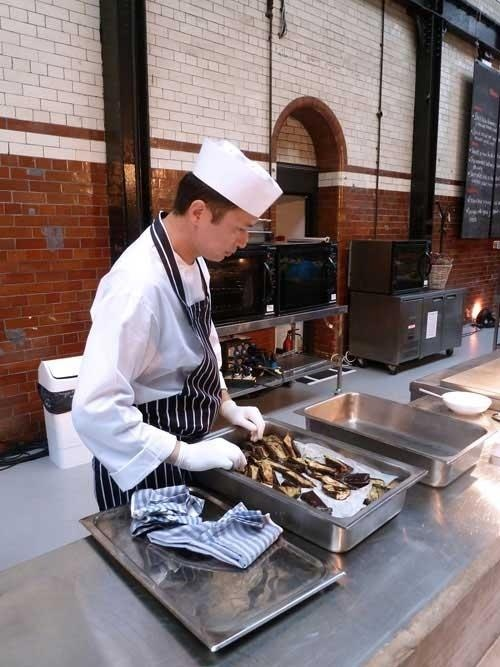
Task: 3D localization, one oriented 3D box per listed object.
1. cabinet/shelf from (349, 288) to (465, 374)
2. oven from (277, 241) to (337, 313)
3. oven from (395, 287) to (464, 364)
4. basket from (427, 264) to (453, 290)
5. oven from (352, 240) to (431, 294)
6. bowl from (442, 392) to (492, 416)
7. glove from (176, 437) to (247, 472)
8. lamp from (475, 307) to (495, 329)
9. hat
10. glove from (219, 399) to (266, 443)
[{"bbox_3d":[1.669,-0.075,5.349,1.256,0.735,0.633,-11,15,-42],"label":"cabinet/shelf"},{"bbox_3d":[0.334,-0.463,4.142,0.498,0.543,0.841,6,13,38],"label":"oven"},{"bbox_3d":[1.820,-0.079,5.326,1.088,0.753,0.367,-11,17,-34],"label":"oven"},{"bbox_3d":[2.099,-0.625,5.634,0.287,0.282,0.298,4,6,28],"label":"basket"},{"bbox_3d":[1.443,-0.680,5.146,0.571,0.537,0.873,11,14,43],"label":"oven"},{"bbox_3d":[0.728,0.242,1.688,0.148,0.064,0.172,8,14,27],"label":"bowl"},{"bbox_3d":[-0.088,0.284,1.128,0.120,0.082,0.128,7,13,20],"label":"glove"},{"bbox_3d":[3.418,-0.200,7.360,0.352,0.320,0.237,-2,-1,-11],"label":"lamp"},{"bbox_3d":[-0.038,-0.376,1.204,0.185,0.190,0.254,6,13,14],"label":"hat"},{"bbox_3d":[0.014,0.258,1.439,0.169,0.094,0.098,13,-6,33],"label":"glove"}]
